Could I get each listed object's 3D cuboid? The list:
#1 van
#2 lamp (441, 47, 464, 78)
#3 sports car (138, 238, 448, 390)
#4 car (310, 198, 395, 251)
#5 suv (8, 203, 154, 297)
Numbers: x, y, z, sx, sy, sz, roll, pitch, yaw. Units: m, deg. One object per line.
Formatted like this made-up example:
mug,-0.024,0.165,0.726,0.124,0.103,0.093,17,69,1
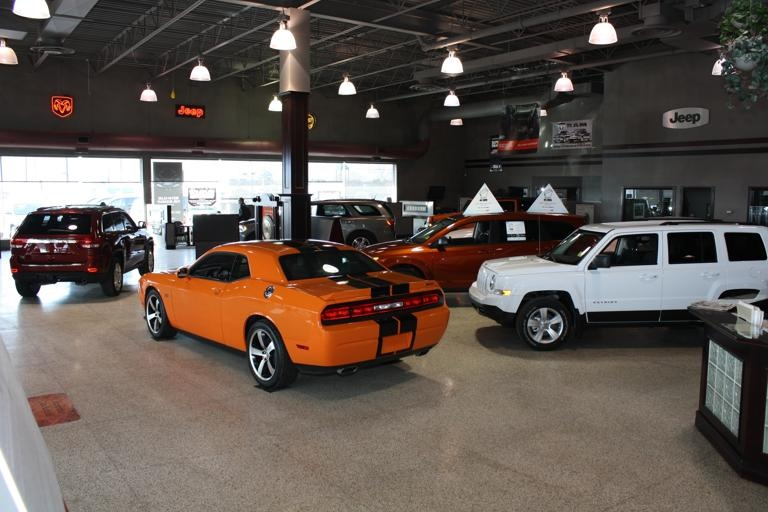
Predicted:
van,2.282,-0.174,11.639,5.124,1.772,2.130,1,4,-7
lamp,1.926,-5.425,12.589,0.418,0.959,1.751,2,8,12
sports car,-1.321,0.795,6.696,3.998,1.827,1.576,5,9,29
car,-1.218,-1.294,17.534,3.078,1.239,1.707,3,4,-6
suv,-7.559,-0.370,12.433,2.077,1.688,3.970,1,9,4
